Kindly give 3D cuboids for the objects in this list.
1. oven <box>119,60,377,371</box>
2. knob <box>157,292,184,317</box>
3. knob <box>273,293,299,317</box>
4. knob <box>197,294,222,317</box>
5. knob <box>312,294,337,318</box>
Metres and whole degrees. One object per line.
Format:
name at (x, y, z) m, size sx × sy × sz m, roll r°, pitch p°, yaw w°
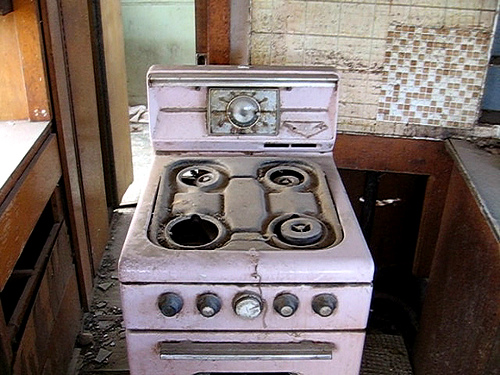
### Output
oven at (-0.022, 0.073, 1.732) m, size 0.845 × 0.954 × 0.886 m, roll -1°, pitch 25°, yaw 0°
knob at (-0.263, 0.378, 1.430) m, size 0.082 × 0.075 × 0.030 m, roll 3°, pitch 13°, yaw 0°
knob at (0.120, 0.387, 1.449) m, size 0.085 × 0.069 × 0.034 m, roll 1°, pitch 25°, yaw 3°
knob at (-0.131, 0.382, 1.431) m, size 0.074 × 0.071 × 0.053 m, roll -33°, pitch -5°, yaw -12°
knob at (0.247, 0.390, 1.445) m, size 0.077 × 0.070 × 0.028 m, roll -1°, pitch -4°, yaw -2°
